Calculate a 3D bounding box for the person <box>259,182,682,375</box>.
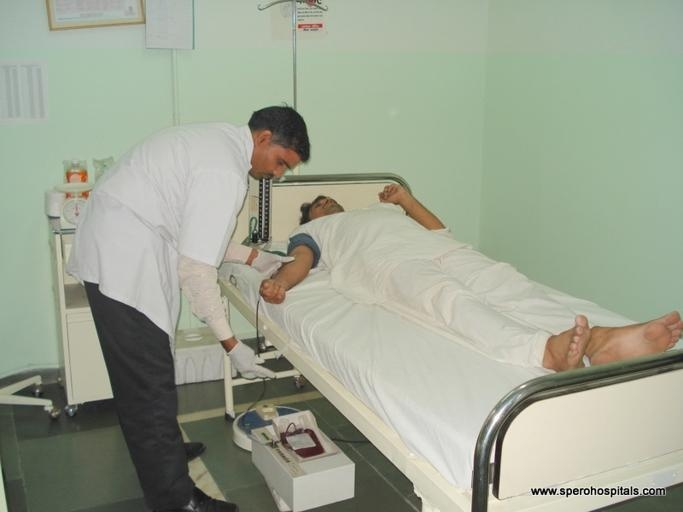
[{"bbox_3d":[0.454,0.103,2.543,0.879,0.338,1.703,-11,24,-26],"label":"person"}]
